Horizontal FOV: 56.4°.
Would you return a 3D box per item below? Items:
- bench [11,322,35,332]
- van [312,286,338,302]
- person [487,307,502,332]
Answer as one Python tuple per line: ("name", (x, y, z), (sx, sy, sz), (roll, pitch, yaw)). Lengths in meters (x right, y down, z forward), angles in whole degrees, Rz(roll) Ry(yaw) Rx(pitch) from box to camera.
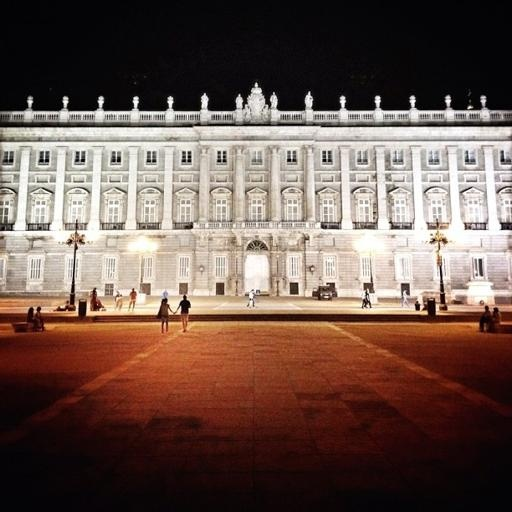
("bench", (-9.408, 2.875, 19.205), (0.773, 0.333, 0.817), (0, -4, -2))
("van", (6.149, 3.325, 43.102), (1.503, 0.860, 1.872), (2, 2, 1))
("person", (9.574, 2.539, 19.156), (0.388, 0.936, 0.828), (-3, -5, 30))
